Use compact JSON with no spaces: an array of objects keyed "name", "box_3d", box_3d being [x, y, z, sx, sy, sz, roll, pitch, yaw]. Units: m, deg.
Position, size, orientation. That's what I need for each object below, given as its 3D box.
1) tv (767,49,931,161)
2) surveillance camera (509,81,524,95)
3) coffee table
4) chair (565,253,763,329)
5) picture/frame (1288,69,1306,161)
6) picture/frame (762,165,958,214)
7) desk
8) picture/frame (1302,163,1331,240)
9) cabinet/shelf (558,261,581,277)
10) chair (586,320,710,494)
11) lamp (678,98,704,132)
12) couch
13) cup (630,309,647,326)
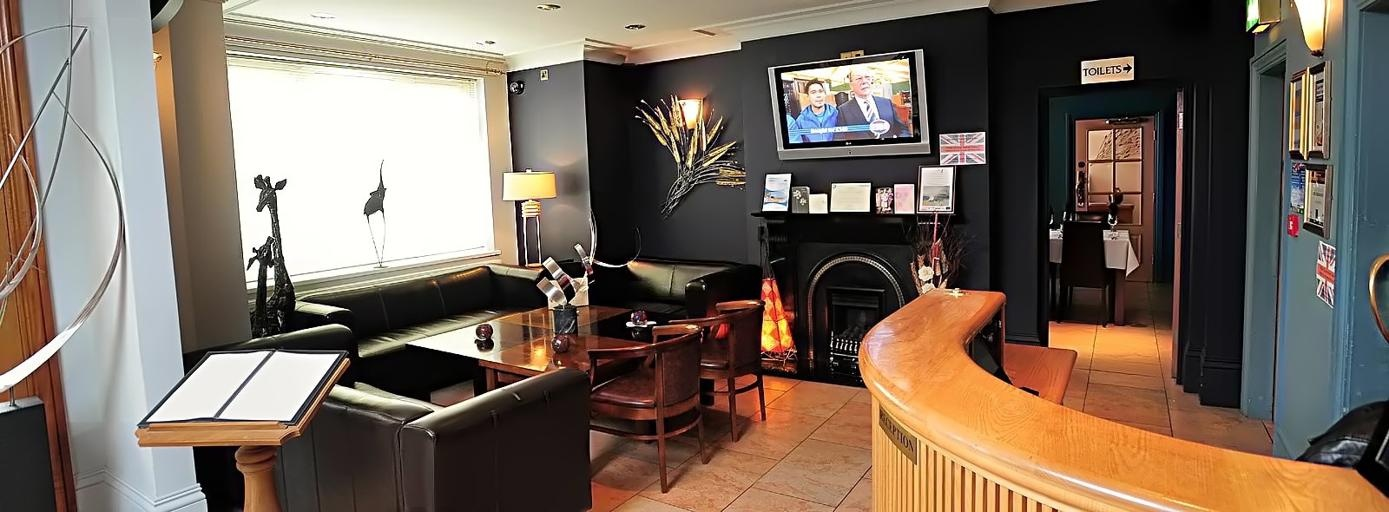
[{"name":"tv","box_3d":[2.355,-2.147,10.581,0.300,1.507,2.957,-20,20,-36]},{"name":"surveillance camera","box_3d":[-3.023,-2.863,12.023,0.292,0.217,0.097,1,11,27]},{"name":"coffee table","box_3d":[-2.103,1.115,9.215,1.896,0.306,1.674,4,10,32]},{"name":"chair","box_3d":[-0.390,0.821,11.432,2.594,0.834,1.243,1,0,23]},{"name":"picture/frame","box_3d":[6.943,-1.624,8.209,0.117,0.986,0.581,2,11,33]},{"name":"picture/frame","box_3d":[3.002,-0.955,10.395,1.474,0.690,0.361,1,11,22]},{"name":"desk","box_3d":[6.613,0.197,12.726,2.172,1.486,1.987,2,4,31]},{"name":"picture/frame","box_3d":[6.878,-0.620,7.851,0.106,0.801,0.446,-1,10,19]},{"name":"cabinet/shelf","box_3d":[-2.039,0.207,11.643,0.556,0.201,0.304,2,4,-14]},{"name":"chair","box_3d":[-0.578,1.869,8.984,1.339,1.946,0.959,-1,10,19]},{"name":"lamp","box_3d":[0.125,-2.344,11.826,0.677,0.487,0.545,0,2,3]},{"name":"couch","box_3d":[-4.105,1.041,10.699,1.614,1.168,3.469,16,18,34]},{"name":"cup","box_3d":[-0.761,0.838,9.561,0.228,0.085,0.293,1,6,-3]}]
